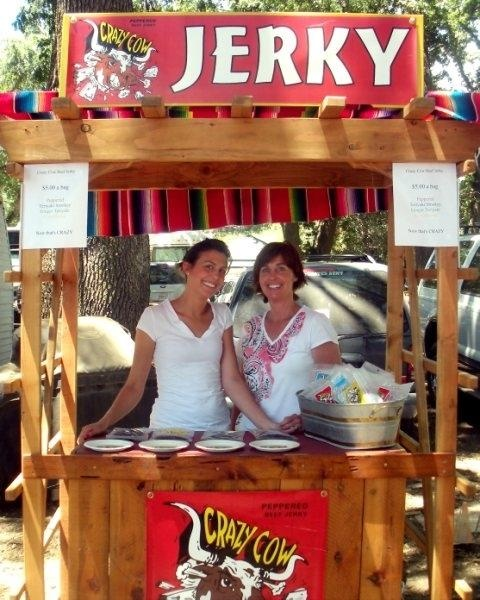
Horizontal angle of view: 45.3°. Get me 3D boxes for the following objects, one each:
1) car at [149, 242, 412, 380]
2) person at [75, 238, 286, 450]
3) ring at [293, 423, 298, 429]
[{"bbox_3d":[0.367,-0.019,6.580,2.218,1.671,3.576,-1,7,-6],"label":"car"},{"bbox_3d":[-0.207,0.189,3.050,0.723,1.025,0.449,-2,3,2],"label":"person"},{"bbox_3d":[0.265,0.594,2.674,0.029,0.022,0.011,-4,4,-37],"label":"ring"}]
